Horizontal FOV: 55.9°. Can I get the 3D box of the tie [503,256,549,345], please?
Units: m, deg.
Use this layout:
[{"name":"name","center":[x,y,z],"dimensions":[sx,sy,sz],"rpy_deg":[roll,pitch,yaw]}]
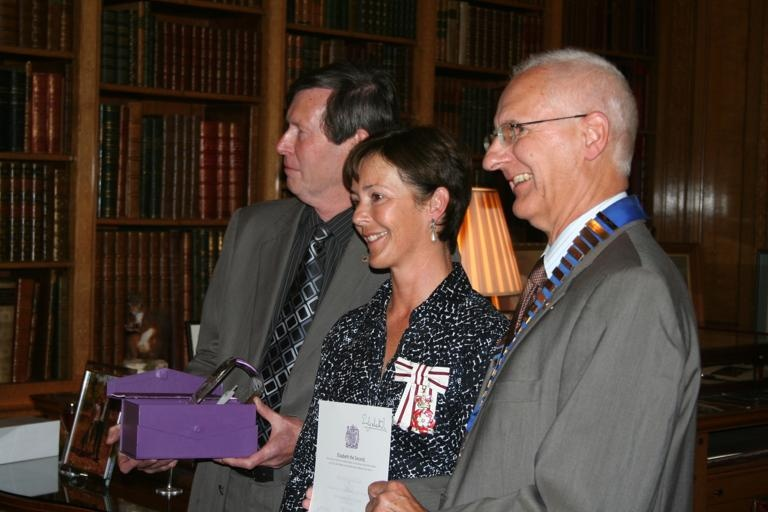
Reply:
[{"name":"tie","center":[0.386,0.120,1.970],"dimensions":[0.046,0.202,0.195],"rpy_deg":[24,10,12]}]
